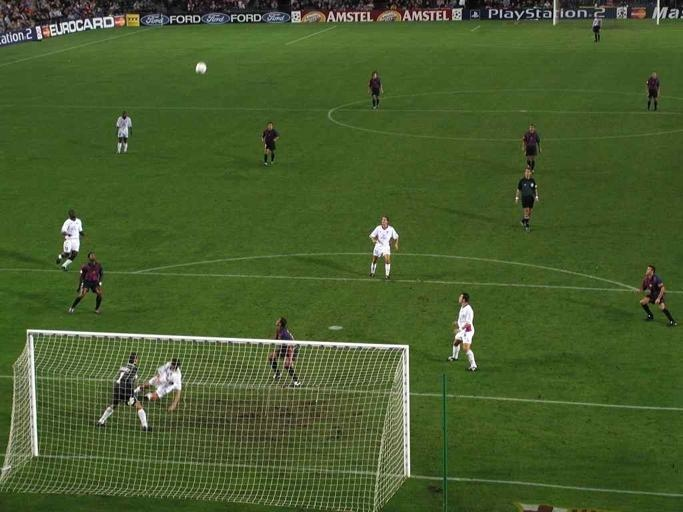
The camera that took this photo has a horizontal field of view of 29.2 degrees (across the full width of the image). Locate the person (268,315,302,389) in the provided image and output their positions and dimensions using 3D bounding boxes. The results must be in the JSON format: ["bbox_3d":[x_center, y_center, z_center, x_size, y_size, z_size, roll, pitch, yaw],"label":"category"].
[{"bbox_3d":[-1.836,3.208,43.921,1.221,2.135,0.849,3,3,25],"label":"person"}]

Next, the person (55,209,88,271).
[{"bbox_3d":[-11.412,-0.594,54.796,0.921,2.669,1.447,2,5,21],"label":"person"}]
